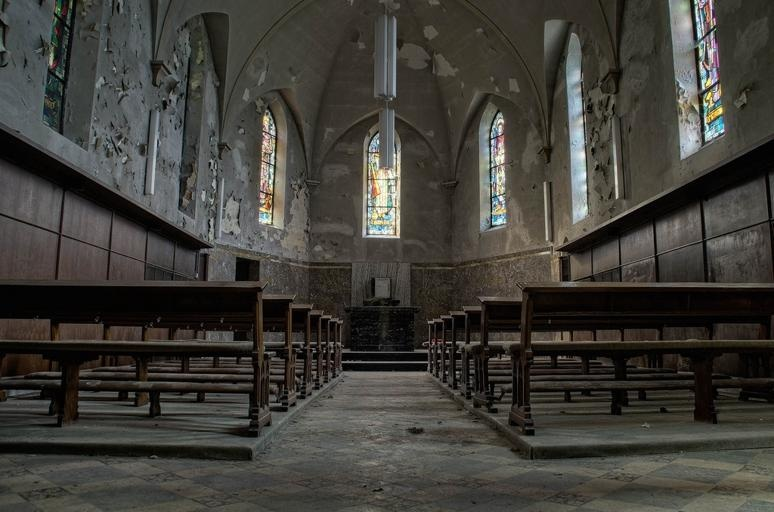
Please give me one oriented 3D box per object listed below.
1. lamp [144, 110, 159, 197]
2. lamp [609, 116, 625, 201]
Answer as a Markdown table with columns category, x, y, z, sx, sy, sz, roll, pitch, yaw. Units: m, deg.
| category | x | y | z | sx | sy | sz | roll | pitch | yaw |
| --- | --- | --- | --- | --- | --- | --- | --- | --- | --- |
| lamp | -4.999 | -2.156 | 11.907 | 0.221 | 1.869 | 0.394 | 6 | -14 | -27 |
| lamp | 4.941 | -2.096 | 12.057 | 0.183 | 1.831 | 0.260 | 2 | -13 | -11 |
